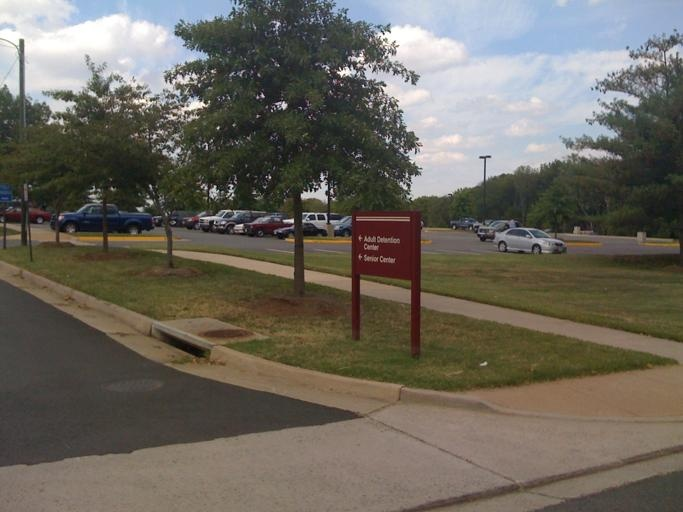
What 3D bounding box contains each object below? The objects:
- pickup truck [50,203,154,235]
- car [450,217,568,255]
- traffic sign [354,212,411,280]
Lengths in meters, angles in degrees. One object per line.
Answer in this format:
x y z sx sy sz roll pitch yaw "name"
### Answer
-13.325 -2.068 37.454 4.785 1.825 1.711 -6 12 -35 "pickup truck"
9.550 -0.814 35.874 2.426 2.013 5.749 -1 2 -34 "car"
0.716 -0.209 11.544 0.182 1.161 1.379 -7 13 -43 "traffic sign"
